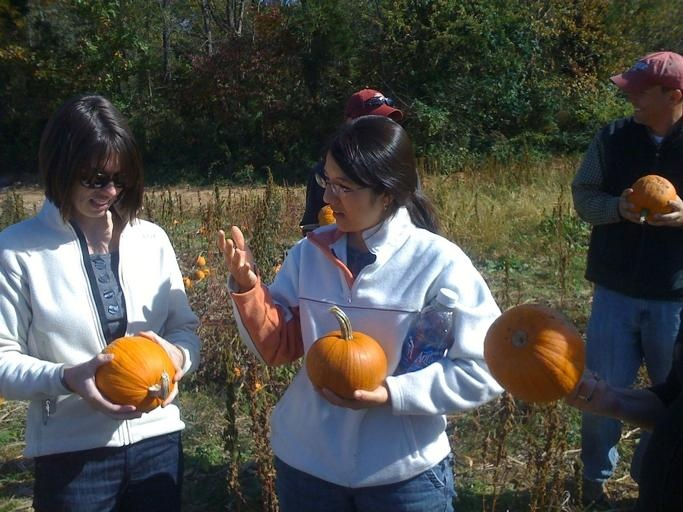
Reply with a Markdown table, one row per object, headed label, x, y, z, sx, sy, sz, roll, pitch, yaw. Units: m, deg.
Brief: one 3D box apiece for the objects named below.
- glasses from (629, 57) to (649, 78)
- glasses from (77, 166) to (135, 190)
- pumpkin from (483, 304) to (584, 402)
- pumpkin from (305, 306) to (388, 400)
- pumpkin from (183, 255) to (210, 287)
| label | x | y | z | sx | sy | sz | roll | pitch | yaw |
| --- | --- | --- | --- | --- | --- | --- | --- | --- | --- |
| glasses | 2.089 | -1.304 | 4.648 | 0.113 | 0.154 | 0.052 | 37 | 1 | 30 |
| glasses | -1.307 | -0.433 | 3.683 | 0.271 | 0.120 | 0.074 | 1 | 10 | -25 |
| pumpkin | 0.993 | 0.485 | 3.524 | 0.426 | 0.477 | 0.451 | -36 | -9 | 5 |
| pumpkin | 0.037 | 0.424 | 3.434 | 0.378 | 0.512 | 0.415 | 0 | 6 | 1 |
| pumpkin | -1.741 | 0.176 | 8.024 | 0.207 | 0.149 | 0.469 | 1 | 39 | 4 |
